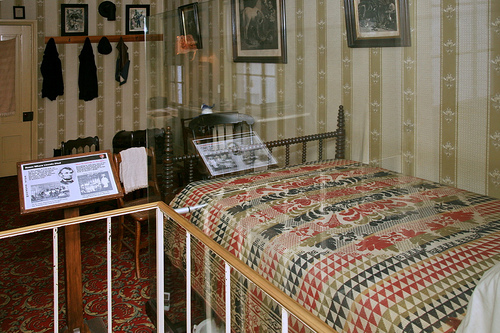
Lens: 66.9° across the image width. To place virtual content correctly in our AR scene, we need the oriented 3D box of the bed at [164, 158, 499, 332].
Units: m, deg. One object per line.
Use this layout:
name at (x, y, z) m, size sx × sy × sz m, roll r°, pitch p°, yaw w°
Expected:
bed at (0.366, 0.331, 1.720) m, size 0.932 × 0.233 × 0.918 m, roll -12°, pitch 16°, yaw -41°

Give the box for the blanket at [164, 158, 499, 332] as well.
blanket at (0.345, 0.320, 1.738) m, size 0.932 × 0.239 × 0.931 m, roll -15°, pitch 19°, yaw -37°

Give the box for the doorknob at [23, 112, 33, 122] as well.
doorknob at (-3.457, -0.772, 5.925) m, size 0.124 × 0.132 × 0.124 m, roll 0°, pitch 0°, yaw -19°
